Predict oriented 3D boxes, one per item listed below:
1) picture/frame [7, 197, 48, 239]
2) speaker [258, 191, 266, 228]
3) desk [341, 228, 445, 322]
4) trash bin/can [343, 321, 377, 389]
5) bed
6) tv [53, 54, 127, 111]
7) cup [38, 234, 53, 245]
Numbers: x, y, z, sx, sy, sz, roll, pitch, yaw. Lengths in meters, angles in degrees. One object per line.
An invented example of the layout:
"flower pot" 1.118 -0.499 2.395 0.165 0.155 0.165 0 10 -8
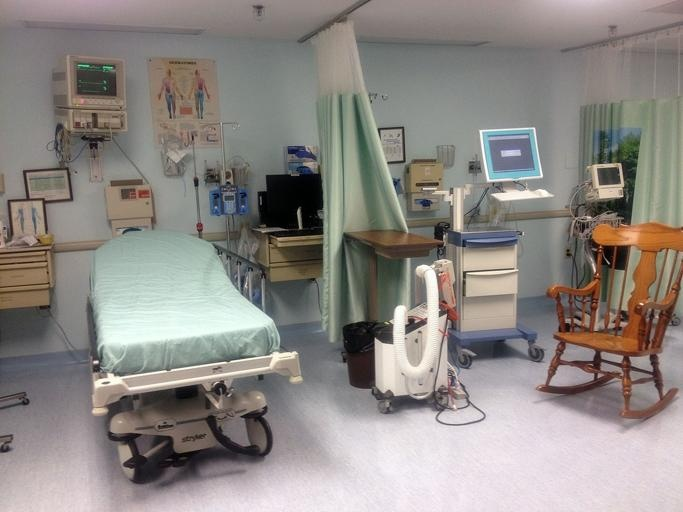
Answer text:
"picture/frame" -2.740 -0.335 4.653 0.366 0.461 0.032 -3 3 -30
"speaker" -0.762 -0.461 5.162 0.102 0.316 0.051 0 14 12
"desk" 0.402 0.216 4.364 0.453 0.797 0.869 -8 14 -23
"trash bin/can" 0.145 0.786 4.114 0.257 0.485 0.349 -2 13 3
"bed" -1.131 0.542 3.721 1.014 0.969 1.902 -6 20 -22
"tv" -2.144 -1.408 4.582 0.642 0.509 0.443 -3 9 -28
"cup" -2.502 -0.134 4.531 0.093 0.074 0.106 0 -2 14
